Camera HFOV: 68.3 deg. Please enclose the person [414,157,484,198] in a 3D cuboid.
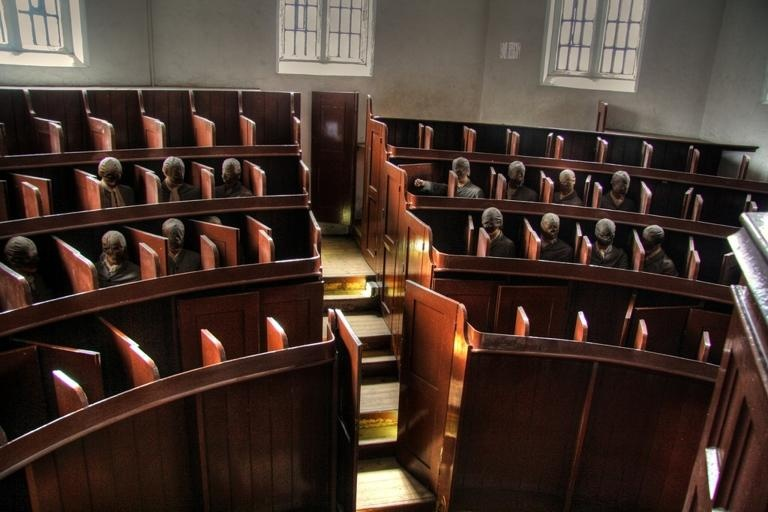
[{"bbox_3d":[0.981,-1.008,7.510,1.246,0.551,0.363,14,11,40],"label":"person"}]
